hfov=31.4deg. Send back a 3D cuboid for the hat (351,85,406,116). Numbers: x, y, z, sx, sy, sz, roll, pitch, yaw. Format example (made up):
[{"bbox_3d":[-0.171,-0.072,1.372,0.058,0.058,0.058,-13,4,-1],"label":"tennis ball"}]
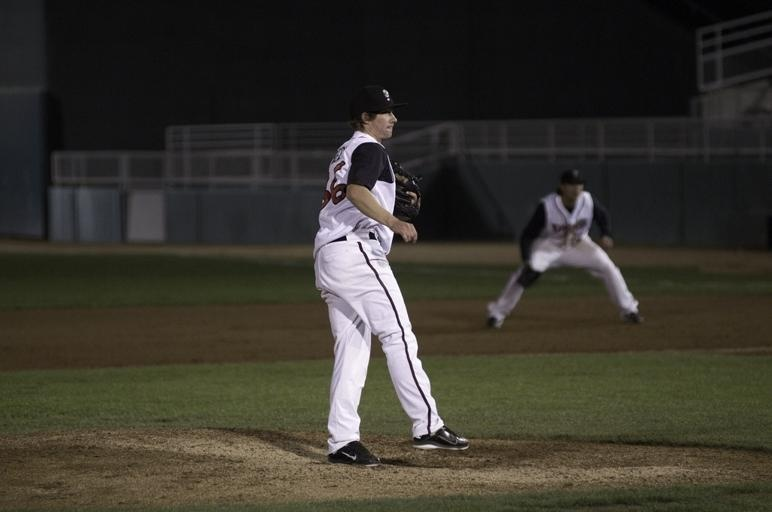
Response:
[{"bbox_3d":[-0.147,-2.116,18.826,0.531,0.264,0.372,-1,10,7],"label":"hat"}]

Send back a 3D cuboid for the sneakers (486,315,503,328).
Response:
[{"bbox_3d":[1.779,1.134,22.919,0.227,0.230,0.275,21,12,24],"label":"sneakers"}]
